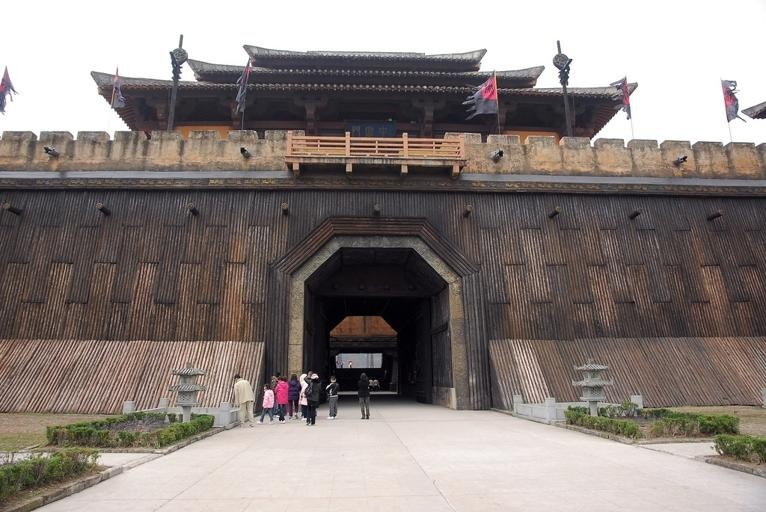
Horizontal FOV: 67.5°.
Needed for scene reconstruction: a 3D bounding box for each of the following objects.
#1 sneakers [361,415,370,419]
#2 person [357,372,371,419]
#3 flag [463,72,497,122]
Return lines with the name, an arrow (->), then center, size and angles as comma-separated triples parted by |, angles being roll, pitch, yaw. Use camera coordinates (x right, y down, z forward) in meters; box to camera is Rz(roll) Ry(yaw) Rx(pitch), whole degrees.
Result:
sneakers -> -0.722, 6.983, 24.872 | 0.356, 0.225, 0.123 | 3, -17, 2
person -> -0.767, 6.156, 25.249 | 0.427, 2.000, 1.068 | -2, -18, -5
flag -> 5.482, -8.655, 31.015 | 1.170, 2.374, 1.794 | 0, -18, -8
